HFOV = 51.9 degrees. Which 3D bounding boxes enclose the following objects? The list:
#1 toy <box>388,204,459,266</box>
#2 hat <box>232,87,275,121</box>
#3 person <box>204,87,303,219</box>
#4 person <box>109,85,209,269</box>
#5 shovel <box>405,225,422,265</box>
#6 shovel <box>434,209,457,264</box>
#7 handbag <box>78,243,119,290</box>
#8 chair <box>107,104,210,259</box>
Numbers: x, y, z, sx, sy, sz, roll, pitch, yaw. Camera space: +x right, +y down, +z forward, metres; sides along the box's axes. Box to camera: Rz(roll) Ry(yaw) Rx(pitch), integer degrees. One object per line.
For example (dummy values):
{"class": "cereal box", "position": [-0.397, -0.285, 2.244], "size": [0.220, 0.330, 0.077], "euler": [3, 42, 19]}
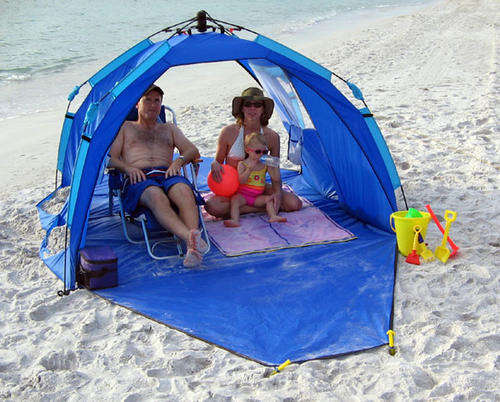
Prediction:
{"class": "toy", "position": [1.531, 0.285, 4.420], "size": [0.537, 0.508, 0.462], "euler": [-6, 17, -19]}
{"class": "hat", "position": [0.021, -0.985, 5.150], "size": [0.382, 0.360, 0.148], "euler": [3, 52, 1]}
{"class": "person", "position": [0.018, -0.474, 5.301], "size": [1.022, 1.310, 0.837], "euler": [-1, 29, -18]}
{"class": "person", "position": [-0.825, -0.254, 4.714], "size": [0.882, 1.012, 1.877], "euler": [-10, 32, -27]}
{"class": "shovel", "position": [1.370, 0.366, 4.234], "size": [0.142, 0.287, 0.183], "euler": [-1, 28, 17]}
{"class": "shovel", "position": [1.642, 0.262, 4.274], "size": [0.159, 0.408, 0.431], "euler": [2, 28, 22]}
{"class": "handbag", "position": [-1.172, 0.530, 4.128], "size": [0.332, 0.275, 0.356], "euler": [-10, 19, -27]}
{"class": "chair", "position": [-0.811, -0.206, 4.599], "size": [1.032, 1.389, 0.968], "euler": [-4, 29, -27]}
